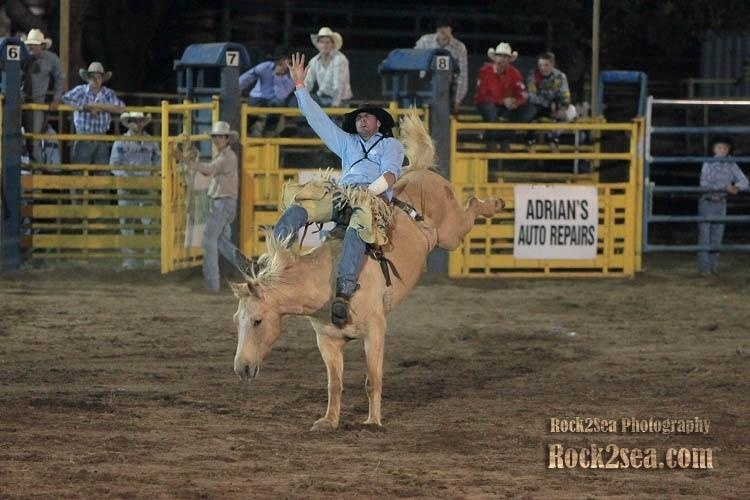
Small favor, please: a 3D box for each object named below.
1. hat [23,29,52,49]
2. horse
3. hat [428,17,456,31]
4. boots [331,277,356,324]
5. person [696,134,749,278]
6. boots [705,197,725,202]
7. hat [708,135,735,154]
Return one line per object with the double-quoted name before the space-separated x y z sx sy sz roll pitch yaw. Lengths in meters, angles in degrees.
"hat" -6.560 -4.116 26.798 0.488 0.249 0.598 -1 4 0
"horse" -0.211 0.228 19.177 3.500 4.438 1.116 -1 3 -38
"hat" 1.437 -4.587 27.682 0.343 0.194 0.403 -1 1 4
"boots" -0.409 0.700 18.665 0.276 0.661 0.405 7 -23 -1
"person" 6.553 -0.823 25.989 0.785 2.551 0.963 2 2 12
"boots" 6.449 -0.962 25.970 0.377 0.113 0.154 1 3 4
"hat" 6.645 -1.985 26.213 0.353 0.400 0.696 2 3 13
